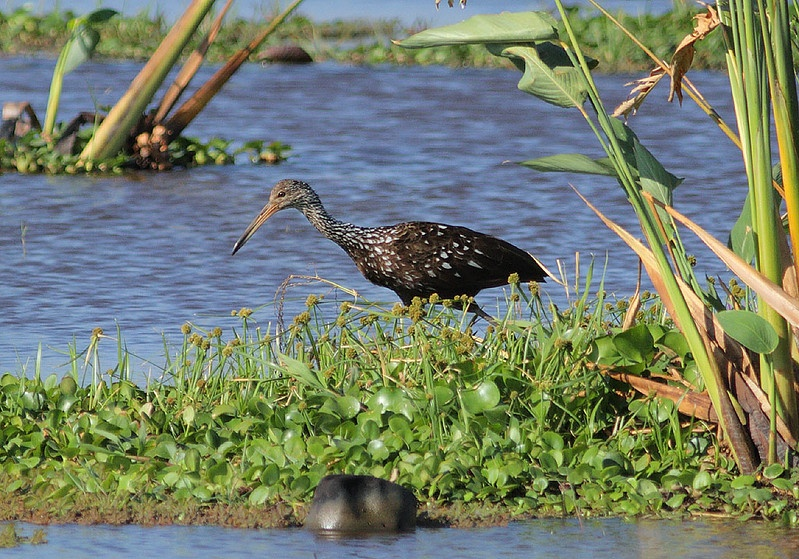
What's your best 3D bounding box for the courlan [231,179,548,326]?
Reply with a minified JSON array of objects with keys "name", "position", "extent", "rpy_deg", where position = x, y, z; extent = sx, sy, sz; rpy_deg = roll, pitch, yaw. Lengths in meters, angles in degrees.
[{"name":"courlan","position":[-0.020,-0.294,9.425],"extent":[2.039,0.997,0.780],"rpy_deg":[3,-1,34]}]
